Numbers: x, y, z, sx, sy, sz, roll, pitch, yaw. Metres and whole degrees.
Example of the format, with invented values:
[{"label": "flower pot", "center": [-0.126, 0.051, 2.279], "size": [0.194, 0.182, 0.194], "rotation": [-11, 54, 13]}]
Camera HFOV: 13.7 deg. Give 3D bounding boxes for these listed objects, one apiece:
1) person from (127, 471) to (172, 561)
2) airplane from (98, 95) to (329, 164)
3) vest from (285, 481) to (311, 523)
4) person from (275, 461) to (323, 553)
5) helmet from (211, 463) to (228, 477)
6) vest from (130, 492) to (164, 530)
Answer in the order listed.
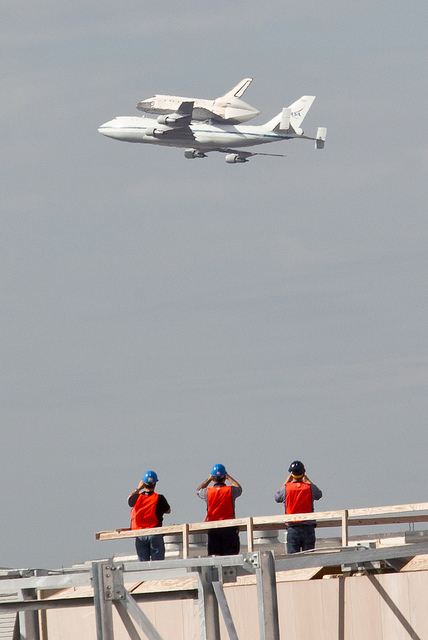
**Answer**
[{"label": "person", "center": [-0.790, 2.857, 24.545], "size": [0.568, 1.653, 0.467], "rotation": [7, 18, 26]}, {"label": "airplane", "center": [-0.030, -8.173, 79.029], "size": [3.076, 2.730, 10.861], "rotation": [-8, -5, 37]}, {"label": "vest", "center": [1.217, 2.316, 23.647], "size": [0.350, 0.421, 0.221], "rotation": [-5, -4, 1]}, {"label": "person", "center": [1.255, 2.717, 23.847], "size": [0.635, 1.768, 0.422], "rotation": [-1, 6, 1]}, {"label": "helmet", "center": [0.181, 2.044, 24.472], "size": [0.194, 0.169, 0.484], "rotation": [-5, -4, 0]}, {"label": "vest", "center": [-0.807, 2.571, 24.376], "size": [0.433, 0.494, 0.274], "rotation": [-6, -4, 5]}]
